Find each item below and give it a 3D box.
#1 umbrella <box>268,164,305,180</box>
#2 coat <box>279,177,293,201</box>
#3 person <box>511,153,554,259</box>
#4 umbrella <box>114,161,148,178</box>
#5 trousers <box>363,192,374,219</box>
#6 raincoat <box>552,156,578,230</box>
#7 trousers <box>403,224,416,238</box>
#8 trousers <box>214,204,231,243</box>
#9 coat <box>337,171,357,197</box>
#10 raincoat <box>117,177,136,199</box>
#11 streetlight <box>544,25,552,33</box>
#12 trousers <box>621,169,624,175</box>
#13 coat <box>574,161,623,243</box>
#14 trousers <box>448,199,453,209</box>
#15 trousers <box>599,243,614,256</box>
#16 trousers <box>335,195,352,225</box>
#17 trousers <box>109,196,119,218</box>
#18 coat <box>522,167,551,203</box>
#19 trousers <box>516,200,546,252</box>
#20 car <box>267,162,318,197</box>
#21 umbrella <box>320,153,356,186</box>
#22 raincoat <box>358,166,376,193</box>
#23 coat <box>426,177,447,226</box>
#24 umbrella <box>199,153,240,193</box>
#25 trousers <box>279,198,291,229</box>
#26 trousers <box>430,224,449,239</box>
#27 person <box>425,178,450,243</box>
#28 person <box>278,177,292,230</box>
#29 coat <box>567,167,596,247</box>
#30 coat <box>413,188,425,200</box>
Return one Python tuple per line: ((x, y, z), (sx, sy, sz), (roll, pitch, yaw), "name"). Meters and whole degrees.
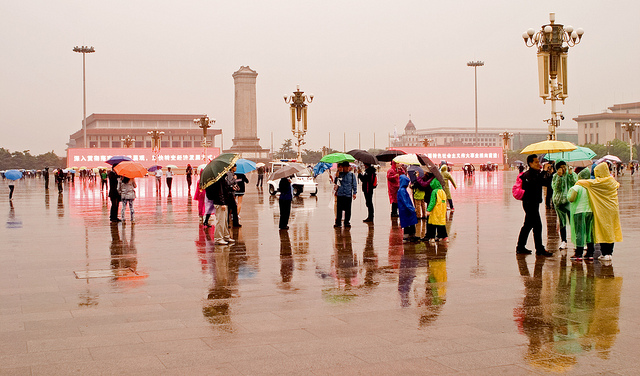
((-0.992, -0.488, 19.836), (0.808, 0.562, 1.515), (-2, 10, -8), "umbrella")
((-1.072, -0.008, 19.835), (0.358, 0.779, 0.427), (-2, 10, -5), "coat")
((5.264, 0.399, 15.742), (0.989, 2.432, 0.960), (1, 10, 14), "person")
((-6.510, -0.610, 21.951), (1.018, 0.575, 1.147), (-4, 10, -17), "umbrella")
((1.678, 0.553, 22.042), (0.269, 0.923, 0.438), (-1, 10, 2), "trousers")
((6.298, 0.088, 16.442), (0.607, 1.755, 0.563), (0, 0, 17), "raincoat")
((2.456, 1.157, 17.822), (0.333, 0.389, 0.426), (-2, -1, -11), "trousers")
((-2.632, 0.911, 17.399), (0.361, 1.047, 0.517), (5, 11, 30), "trousers")
((0.855, -0.150, 20.772), (0.924, 0.805, 0.508), (1, -4, -10), "coat")
((-6.826, -0.022, 22.514), (0.575, 0.884, 0.803), (-1, 1, 31), "raincoat")
((10.203, -7.051, 28.494), (0.455, 0.293, 0.213), (-6, 11, -27), "streetlight")
((33.788, -1.852, 71.502), (0.202, 0.685, 0.781), (2, -6, 8), "trousers")
((6.574, 0.272, 15.068), (0.844, 1.801, 0.831), (0, 2, 6), "coat")
((5.015, 0.612, 24.471), (0.127, 0.378, 0.471), (1, 10, 14), "trousers")
((6.602, 1.391, 14.816), (0.319, 0.285, 0.270), (1, -6, -5), "trousers")
((0.790, 0.678, 21.043), (0.501, 1.057, 0.729), (-1, 10, 2), "trousers")
((-7.300, 0.635, 22.771), (0.327, 0.708, 0.515), (-4, 10, -17), "trousers")
((5.176, -0.123, 15.788), (0.529, 0.718, 0.476), (4, -40, 15), "coat")
((5.215, 0.891, 15.664), (0.525, 1.267, 0.505), (0, -1, 11), "trousers")
((-1.400, -0.579, 36.552), (2.060, 1.605, 3.077), (-6, 5, -38), "car")
((0.619, -0.769, 21.542), (1.150, 1.008, 1.072), (-2, -12, 3), "umbrella")
((1.651, -0.368, 22.277), (0.503, 0.862, 0.950), (0, 10, 4), "raincoat")
((3.166, 0.345, 17.369), (0.537, 1.329, 0.372), (-1, 10, -1), "coat")
((-2.749, -0.463, 17.347), (0.829, 0.904, 0.965), (4, 11, 28), "umbrella")
((-1.117, 0.763, 20.128), (0.336, 0.954, 0.315), (-1, 10, -1), "trousers")
((3.262, 1.150, 17.501), (0.422, 0.492, 0.480), (0, 4, 20), "trousers")
((3.248, 0.590, 17.498), (0.575, 1.725, 0.660), (1, 10, 11), "person")
((-1.094, 0.436, 20.041), (0.386, 1.725, 0.693), (-2, 10, -4), "person")
((6.146, 0.557, 15.024), (0.523, 1.428, 0.469), (0, 1, 18), "coat")
((3.090, 0.149, 20.017), (0.409, 0.458, 0.269), (4, -13, -19), "coat")
